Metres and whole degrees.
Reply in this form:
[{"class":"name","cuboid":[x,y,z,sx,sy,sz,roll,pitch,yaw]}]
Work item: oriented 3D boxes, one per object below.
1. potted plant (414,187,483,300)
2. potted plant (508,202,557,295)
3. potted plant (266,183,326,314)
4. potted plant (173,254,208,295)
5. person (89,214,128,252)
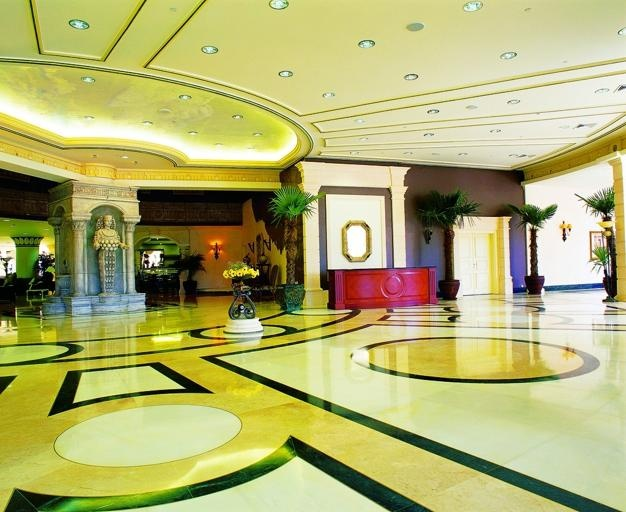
[{"class":"potted plant","cuboid":[3.821,-0.312,11.925,1.593,3.031,0.903,-3,0,-25]},{"class":"potted plant","cuboid":[6.643,-0.232,12.966,1.407,2.735,1.005,-3,0,-34]},{"class":"potted plant","cuboid":[-0.460,-0.296,10.860,1.061,3.048,1.925,-3,0,-5]},{"class":"potted plant","cuboid":[-5.273,0.746,18.785,1.169,1.797,1.663,-3,0,-11]},{"class":"person","cuboid":[-5.165,-0.578,10.997,0.715,0.897,0.389,-3,0,-21]}]
